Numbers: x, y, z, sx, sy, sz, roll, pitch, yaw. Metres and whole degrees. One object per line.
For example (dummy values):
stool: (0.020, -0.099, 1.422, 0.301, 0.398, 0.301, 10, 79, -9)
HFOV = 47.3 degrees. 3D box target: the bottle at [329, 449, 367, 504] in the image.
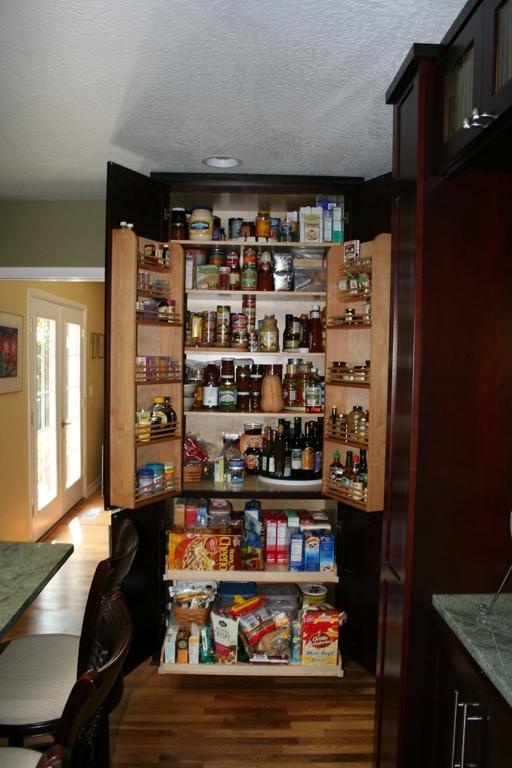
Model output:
bottle: (0.416, 0.384, 2.465, 0.140, 0.191, 0.300, 1, 3, -19)

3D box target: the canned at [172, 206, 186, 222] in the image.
canned: (-0.358, -0.779, 2.695, 0.058, 0.072, 0.061, 1, 6, -10)

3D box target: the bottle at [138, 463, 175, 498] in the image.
bottle: (-0.433, 0.410, 2.523, 0.126, 0.116, 0.131, 0, 2, 0)

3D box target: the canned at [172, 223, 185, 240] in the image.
canned: (-0.359, -0.700, 2.670, 0.065, 0.075, 0.068, 0, 7, -10)

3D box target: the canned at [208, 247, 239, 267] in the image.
canned: (-0.152, -0.589, 2.744, 0.127, 0.135, 0.084, -2, 8, -23)
